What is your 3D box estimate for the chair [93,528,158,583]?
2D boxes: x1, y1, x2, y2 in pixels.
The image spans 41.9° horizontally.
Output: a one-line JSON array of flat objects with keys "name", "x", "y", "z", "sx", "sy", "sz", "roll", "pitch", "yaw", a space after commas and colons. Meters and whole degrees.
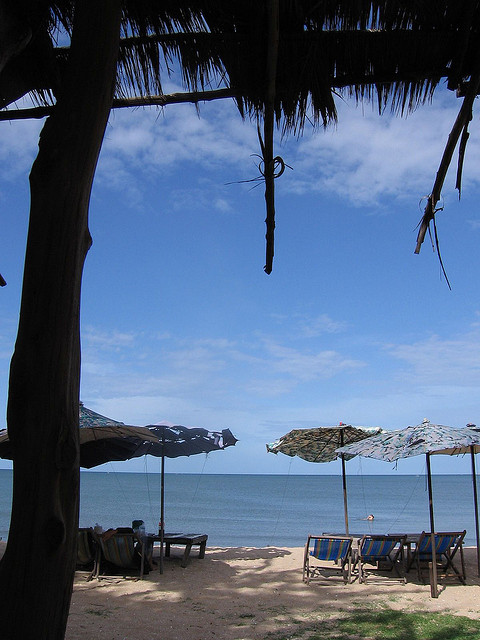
[{"name": "chair", "x": -1.793, "y": 3.497, "z": 9.414, "sx": 0.622, "sy": 0.685, "sz": 1.023, "roll": -1, "pitch": -18, "yaw": -8}]

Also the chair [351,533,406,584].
[{"name": "chair", "x": 2.068, "y": 3.554, "z": 9.502, "sx": 0.603, "sy": 0.671, "sz": 1.073, "roll": 1, "pitch": -12, "yaw": 3}]

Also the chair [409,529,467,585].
[{"name": "chair", "x": 2.927, "y": 3.529, "z": 9.436, "sx": 0.657, "sy": 0.767, "sz": 1.207, "roll": -2, "pitch": -14, "yaw": 5}]
